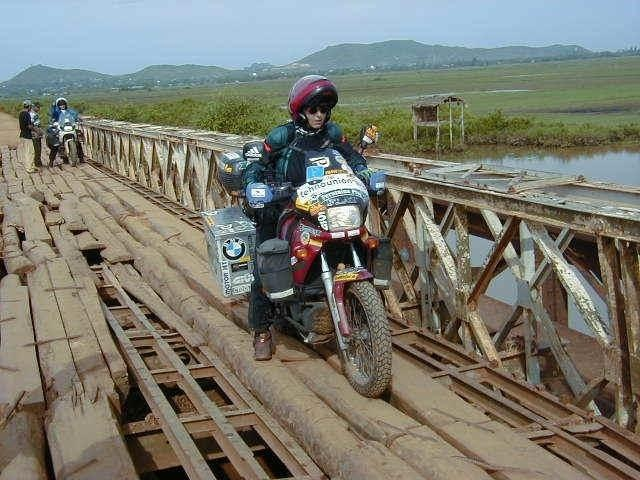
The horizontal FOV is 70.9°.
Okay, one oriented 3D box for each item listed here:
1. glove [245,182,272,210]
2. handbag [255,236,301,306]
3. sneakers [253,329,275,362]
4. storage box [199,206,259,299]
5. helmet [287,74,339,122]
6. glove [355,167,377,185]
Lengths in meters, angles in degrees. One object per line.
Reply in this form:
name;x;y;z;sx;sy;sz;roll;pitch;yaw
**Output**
glove;-0.458;-0.315;3.293;0.155;0.090;0.206;1;-15;-3
handbag;-0.323;0.213;3.550;0.395;0.644;0.495;-6;2;-12
sneakers;-0.482;0.883;3.762;0.118;0.133;0.330;-1;5;-5
storage box;-0.870;0.142;4.303;0.533;0.677;0.934;-12;21;-12
helmet;-0.058;-1.112;3.554;0.384;0.284;0.293;0;3;41
glove;0.358;-0.507;3.633;0.091;0.108;0.255;-3;11;-8
